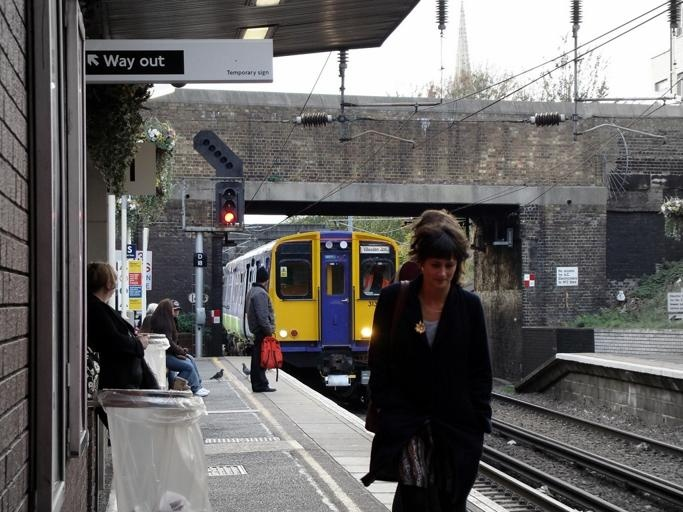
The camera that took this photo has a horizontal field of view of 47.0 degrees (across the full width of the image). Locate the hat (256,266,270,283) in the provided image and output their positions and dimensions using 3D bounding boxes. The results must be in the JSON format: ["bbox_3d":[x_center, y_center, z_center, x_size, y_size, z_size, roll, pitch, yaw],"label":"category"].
[{"bbox_3d":[-1.332,0.322,13.581,0.260,0.276,0.230,-6,10,-38],"label":"hat"}]

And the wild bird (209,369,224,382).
[{"bbox_3d":[-2.551,2.410,15.910,0.243,0.217,0.509,0,2,-13],"label":"wild bird"}]

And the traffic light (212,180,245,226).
[{"bbox_3d":[-2.035,-0.948,14.229,0.487,0.826,0.392,0,2,-13],"label":"traffic light"}]

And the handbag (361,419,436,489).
[{"bbox_3d":[0.307,1.062,4.221,0.429,0.517,0.304,3,-13,-8],"label":"handbag"}]
